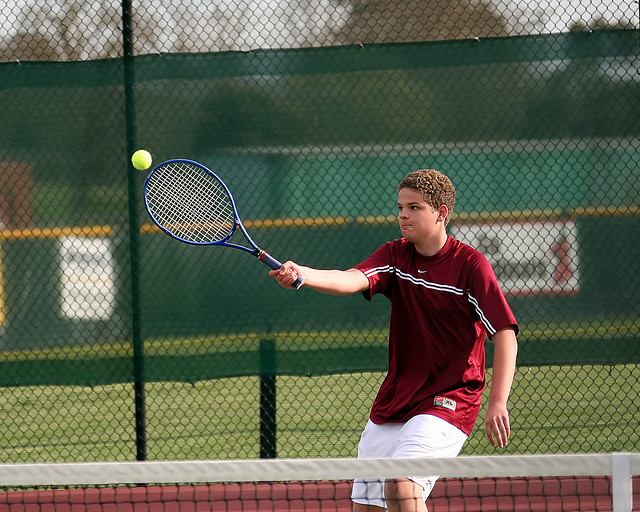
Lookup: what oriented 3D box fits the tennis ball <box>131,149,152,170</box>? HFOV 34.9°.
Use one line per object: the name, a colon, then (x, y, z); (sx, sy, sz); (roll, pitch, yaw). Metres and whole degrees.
tennis ball: (-1.205, -0.652, 6.850); (0.114, 0.138, 0.122); (8, 12, -2)
